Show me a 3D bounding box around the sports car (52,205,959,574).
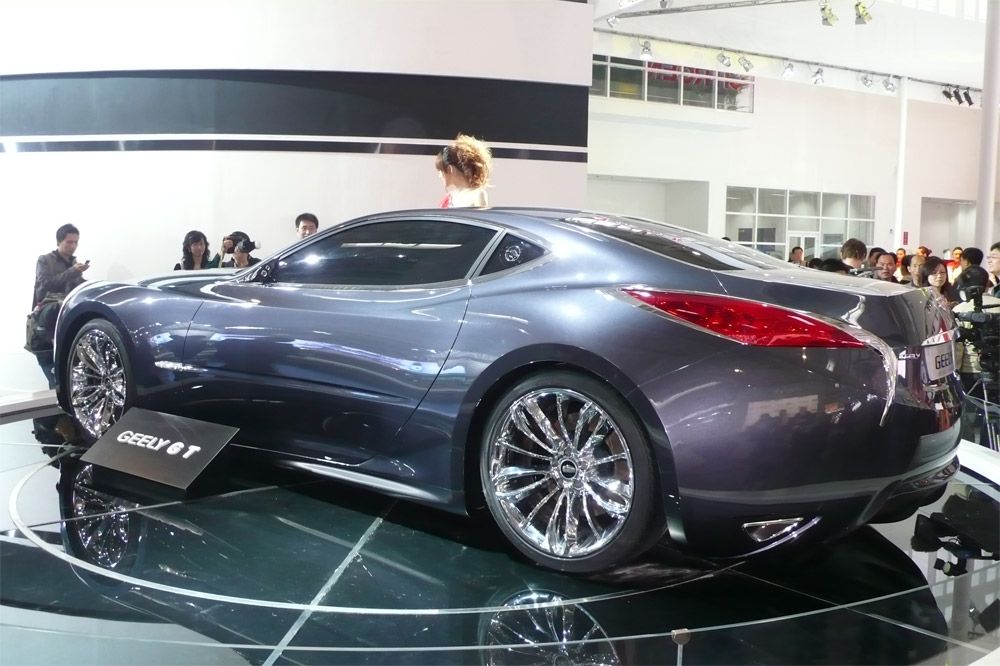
[{"bbox_3d":[-0.138,0.197,3.356,4.315,1.685,1.160,7,12,31],"label":"sports car"}]
